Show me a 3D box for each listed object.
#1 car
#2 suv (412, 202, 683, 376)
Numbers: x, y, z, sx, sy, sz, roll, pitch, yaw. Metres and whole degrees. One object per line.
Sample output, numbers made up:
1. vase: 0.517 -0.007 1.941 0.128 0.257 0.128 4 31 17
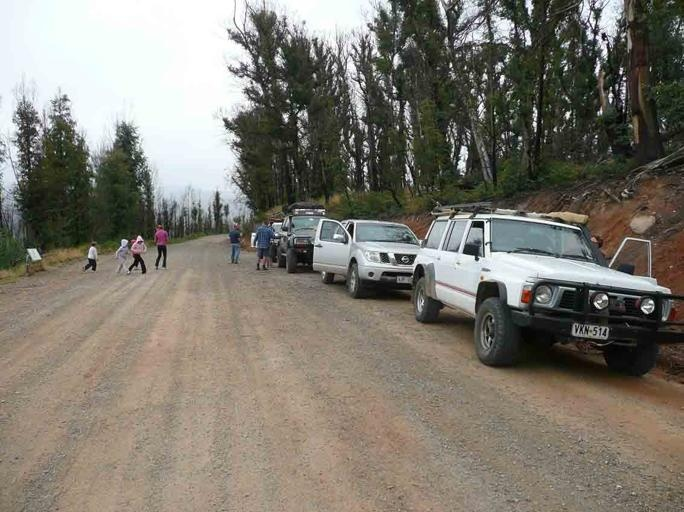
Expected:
1. car: 0.768 0.003 14.510 2.158 2.213 4.942 -3 9 -20
2. suv: 3.011 0.470 8.333 2.133 2.451 4.536 3 0 -12
